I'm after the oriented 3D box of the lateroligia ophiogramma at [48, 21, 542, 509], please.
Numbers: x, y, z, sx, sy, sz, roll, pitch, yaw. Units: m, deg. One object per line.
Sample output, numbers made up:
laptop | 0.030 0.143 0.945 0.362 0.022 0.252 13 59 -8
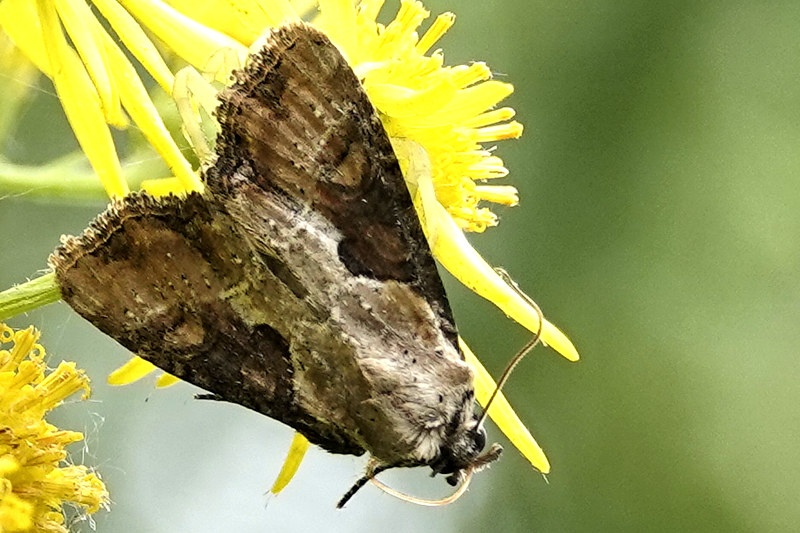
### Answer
lateroligia ophiogramma | -0.105 0.026 1.009 0.276 0.192 0.347 -24 -61 19
